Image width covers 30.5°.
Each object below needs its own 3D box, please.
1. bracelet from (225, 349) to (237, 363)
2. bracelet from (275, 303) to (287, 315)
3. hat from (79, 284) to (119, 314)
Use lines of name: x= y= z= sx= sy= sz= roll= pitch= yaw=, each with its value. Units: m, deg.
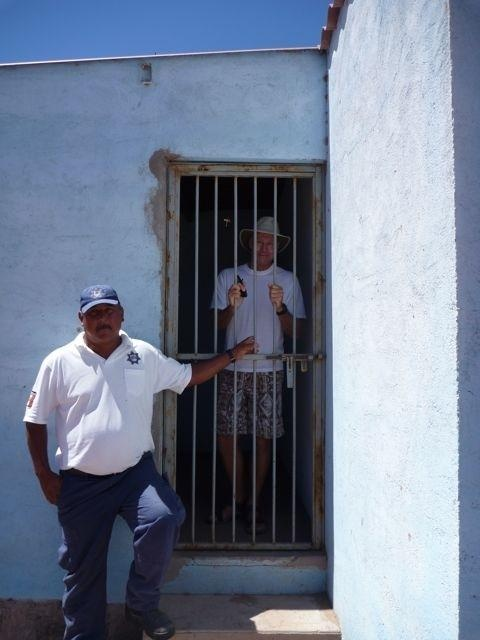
bracelet: x=-0.042 y=0.181 z=4.421 sx=0.018 sy=0.060 sz=0.048 roll=-21 pitch=23 yaw=-23
bracelet: x=0.230 y=-0.056 z=4.771 sx=0.041 sy=0.033 sz=0.063 roll=0 pitch=-45 yaw=0
hat: x=-0.665 y=-0.098 z=4.095 sx=0.139 sy=0.144 sz=0.262 roll=-8 pitch=-2 yaw=-16
